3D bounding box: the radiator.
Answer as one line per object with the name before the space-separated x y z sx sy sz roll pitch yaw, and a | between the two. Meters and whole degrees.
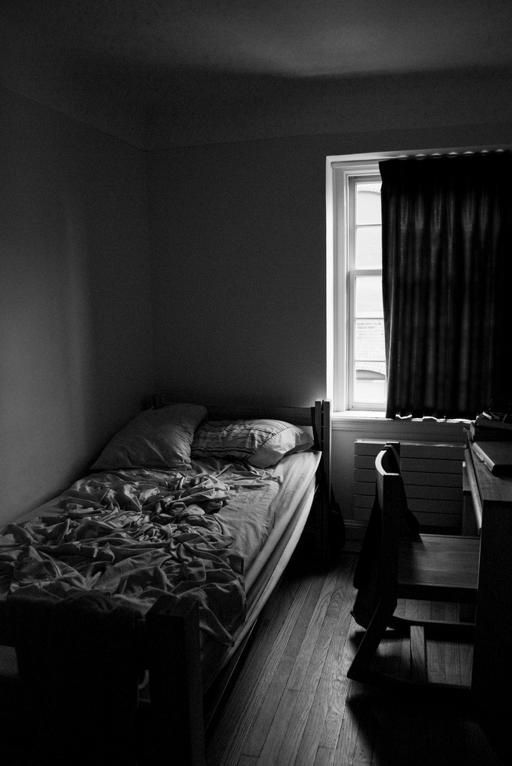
radiator | 0.707 0.447 2.934 0.466 0.417 0.159 1 12 12
